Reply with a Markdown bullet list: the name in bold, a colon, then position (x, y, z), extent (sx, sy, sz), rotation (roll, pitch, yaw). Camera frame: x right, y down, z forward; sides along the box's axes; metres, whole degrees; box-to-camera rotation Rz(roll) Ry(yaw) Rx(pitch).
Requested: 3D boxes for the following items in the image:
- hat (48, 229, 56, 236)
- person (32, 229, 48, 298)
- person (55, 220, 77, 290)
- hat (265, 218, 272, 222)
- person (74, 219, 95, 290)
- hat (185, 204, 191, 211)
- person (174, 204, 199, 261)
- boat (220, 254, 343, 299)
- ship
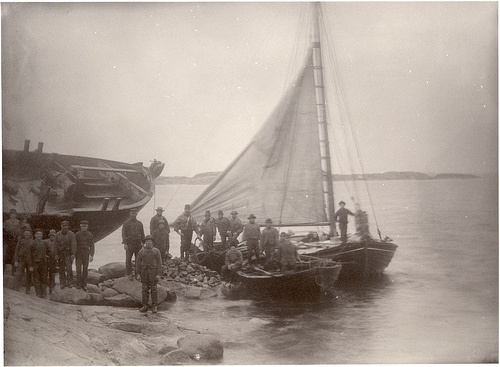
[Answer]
- **hat**: position (-3.131, 0.778, 7.517), extent (0.092, 0.105, 0.080), rotation (1, -4, -33)
- **person**: position (-3.279, 1.247, 7.402), extent (0.271, 1.035, 0.116), rotation (5, -11, -24)
- **person**: position (-2.908, 1.118, 7.439), extent (0.314, 1.009, 0.219), rotation (4, -11, -22)
- **hat**: position (0.319, 0.610, 7.962), extent (0.062, 0.066, 0.058), rotation (2, 9, -4)
- **person**: position (-2.631, 1.141, 7.500), extent (0.293, 1.047, 0.174), rotation (4, -11, -20)
- **hat**: position (-1.032, 0.392, 7.870), extent (0.078, 0.072, 0.080), rotation (2, 5, 12)
- **person**: position (-1.077, 0.807, 7.885), extent (0.288, 0.901, 0.393), rotation (-5, -12, 27)
- **boat**: position (0.512, 1.553, 7.640), extent (1.432, 0.433, 0.853), rotation (-4, -3, 17)
- **ship**: position (-2.814, 0.303, 8.087), extent (2.600, 1.627, 1.013), rotation (-6, -29, -23)
